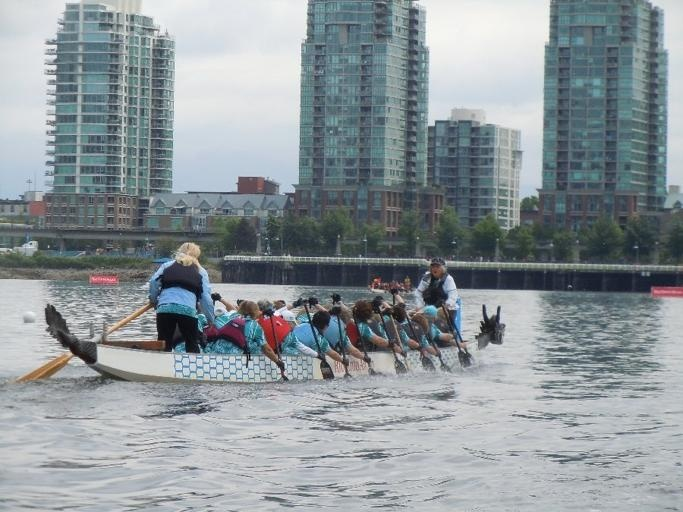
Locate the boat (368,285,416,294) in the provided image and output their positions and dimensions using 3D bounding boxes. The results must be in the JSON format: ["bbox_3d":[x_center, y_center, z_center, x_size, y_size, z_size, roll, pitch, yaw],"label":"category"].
[{"bbox_3d":[6.274,4.173,212.248,5.212,0.850,1.136,2,2,27],"label":"boat"}]

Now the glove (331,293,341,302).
[{"bbox_3d":[-0.352,3.742,152.354,0.716,0.686,0.657,-2,6,-16],"label":"glove"}]
